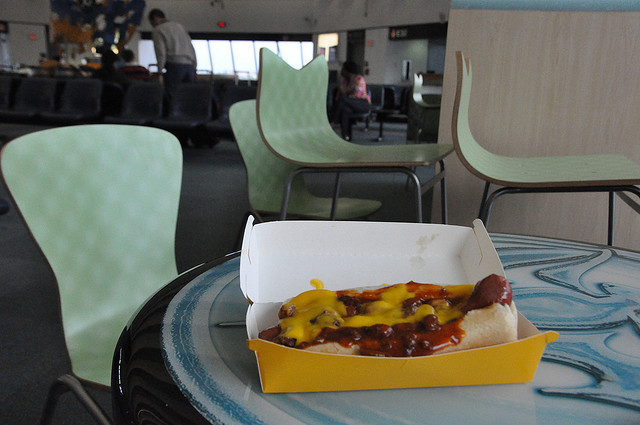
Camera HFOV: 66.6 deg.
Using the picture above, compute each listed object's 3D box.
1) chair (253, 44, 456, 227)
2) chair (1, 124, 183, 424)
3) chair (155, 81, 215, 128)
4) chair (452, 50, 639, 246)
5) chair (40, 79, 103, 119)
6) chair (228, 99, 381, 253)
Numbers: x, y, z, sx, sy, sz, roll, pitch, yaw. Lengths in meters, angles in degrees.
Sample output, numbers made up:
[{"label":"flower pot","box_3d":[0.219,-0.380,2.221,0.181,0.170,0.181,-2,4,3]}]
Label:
[{"label":"chair","box_3d":[0.154,-0.244,1.702,0.543,0.713,0.510,3,15,25]},{"label":"chair","box_3d":[-0.498,0.064,1.136,0.216,0.519,0.375,4,16,15]},{"label":"chair","box_3d":[-1.579,-1.242,5.677,0.544,0.475,0.584,8,19,15]},{"label":"chair","box_3d":[0.728,-0.199,1.661,0.550,0.633,0.767,4,16,14]},{"label":"chair","box_3d":[-3.011,-1.449,6.120,0.585,0.536,0.625,8,16,18]},{"label":"chair","box_3d":[-0.061,-0.147,1.947,0.591,0.574,0.417,4,24,6]}]
